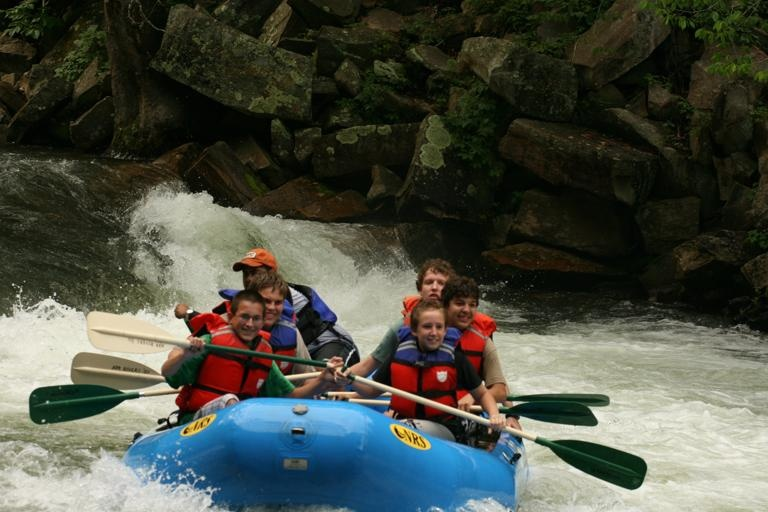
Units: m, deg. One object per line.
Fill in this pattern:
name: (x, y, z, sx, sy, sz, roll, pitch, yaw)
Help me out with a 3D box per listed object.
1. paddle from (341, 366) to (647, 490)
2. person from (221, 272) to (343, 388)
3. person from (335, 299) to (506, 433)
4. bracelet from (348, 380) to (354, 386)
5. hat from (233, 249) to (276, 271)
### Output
paddle: (1.090, 1.802, 8.834, 3.730, 0.487, 0.302, 14, -35, 6)
person: (-1.065, 0.799, 8.868, 0.806, 1.178, 0.921, 6, 29, 24)
person: (0.408, 1.175, 8.912, 1.393, 1.838, 0.678, -2, -3, -3)
bracelet: (-0.308, 1.256, 8.594, 0.046, 0.041, 0.013, 12, 35, 3)
hat: (-1.373, 0.018, 9.324, 0.402, 0.195, 0.271, 2, -8, -25)
